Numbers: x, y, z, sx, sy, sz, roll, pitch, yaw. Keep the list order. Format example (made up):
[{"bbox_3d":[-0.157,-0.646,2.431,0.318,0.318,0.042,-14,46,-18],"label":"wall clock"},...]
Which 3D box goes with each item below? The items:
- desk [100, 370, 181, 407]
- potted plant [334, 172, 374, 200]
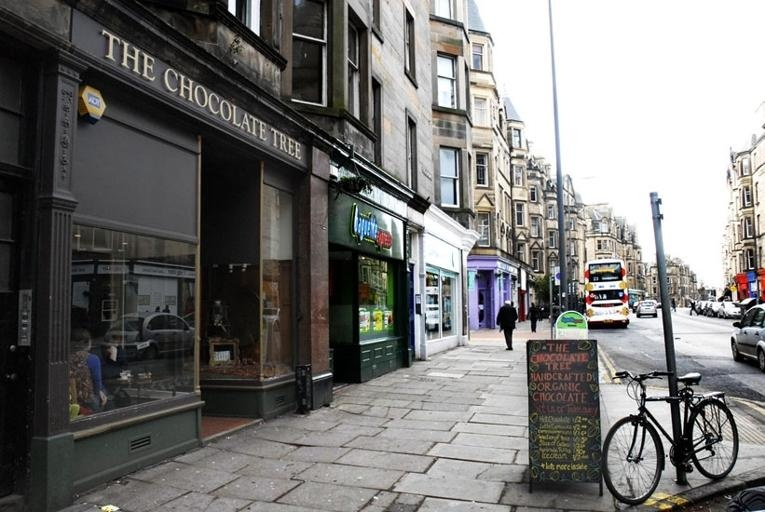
[{"bbox_3d":[-3.486,2.015,9.135,0.255,0.388,1.158,0,-17,14],"label":"desk"},{"bbox_3d":[-0.667,-1.529,13.670,0.771,0.370,0.835,0,-2,-6],"label":"potted plant"}]
